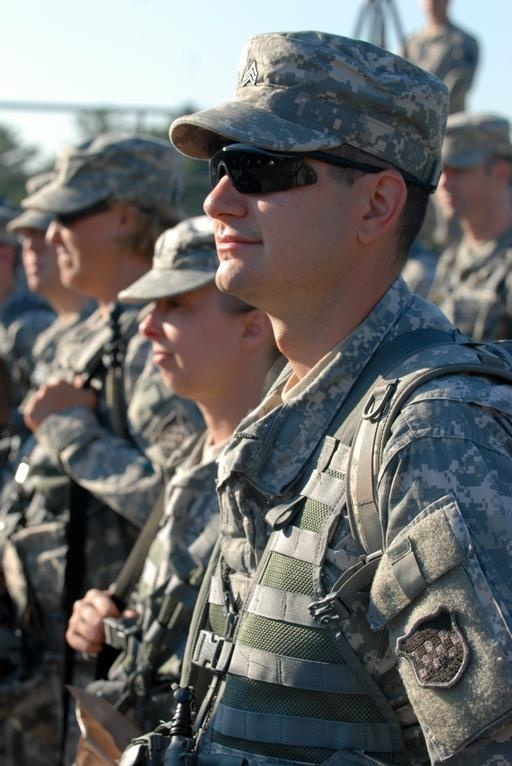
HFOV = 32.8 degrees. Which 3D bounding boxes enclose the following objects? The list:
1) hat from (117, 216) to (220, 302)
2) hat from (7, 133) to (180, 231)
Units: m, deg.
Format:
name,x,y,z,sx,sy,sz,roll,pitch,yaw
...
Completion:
name,x,y,z,sx,sy,sz,roll,pitch,yaw
hat,-0.242,-0.438,3.013,0.407,0.181,0.282,-14,2,-20
hat,-0.727,-0.938,4.003,0.705,0.314,0.457,2,-2,-11
